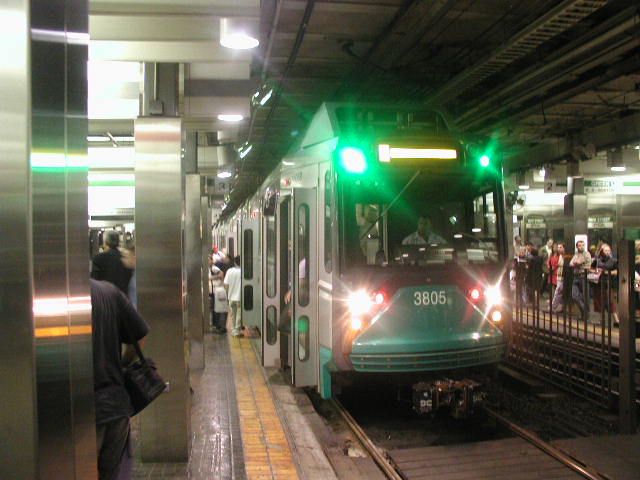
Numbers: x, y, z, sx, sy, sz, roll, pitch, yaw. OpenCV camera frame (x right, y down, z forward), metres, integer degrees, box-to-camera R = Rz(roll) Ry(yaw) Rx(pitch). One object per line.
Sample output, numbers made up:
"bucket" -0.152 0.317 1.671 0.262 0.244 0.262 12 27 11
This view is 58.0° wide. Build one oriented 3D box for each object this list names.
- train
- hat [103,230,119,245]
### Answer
"train" 0.731 0.086 7.583 3.342 3.791 1.624 2 1 20
"hat" -3.049 -0.021 8.416 0.155 0.245 0.223 4 -9 -4
